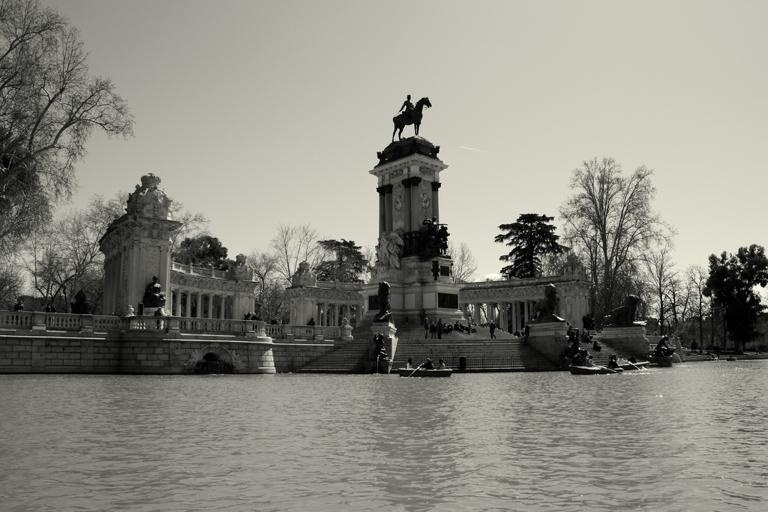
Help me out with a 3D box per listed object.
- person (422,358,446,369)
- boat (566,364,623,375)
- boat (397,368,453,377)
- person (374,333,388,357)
[{"bbox_3d":[2.281,5.025,32.862,0.761,0.504,1.127,-2,-14,9],"label":"person"},{"bbox_3d":[10.420,5.475,34.554,1.565,0.508,4.385,-10,-15,43],"label":"boat"},{"bbox_3d":[1.945,5.210,32.051,1.446,0.279,0.903,-1,-6,10],"label":"boat"},{"bbox_3d":[-0.139,4.555,36.758,0.709,1.232,1.809,1,-11,0],"label":"person"}]
